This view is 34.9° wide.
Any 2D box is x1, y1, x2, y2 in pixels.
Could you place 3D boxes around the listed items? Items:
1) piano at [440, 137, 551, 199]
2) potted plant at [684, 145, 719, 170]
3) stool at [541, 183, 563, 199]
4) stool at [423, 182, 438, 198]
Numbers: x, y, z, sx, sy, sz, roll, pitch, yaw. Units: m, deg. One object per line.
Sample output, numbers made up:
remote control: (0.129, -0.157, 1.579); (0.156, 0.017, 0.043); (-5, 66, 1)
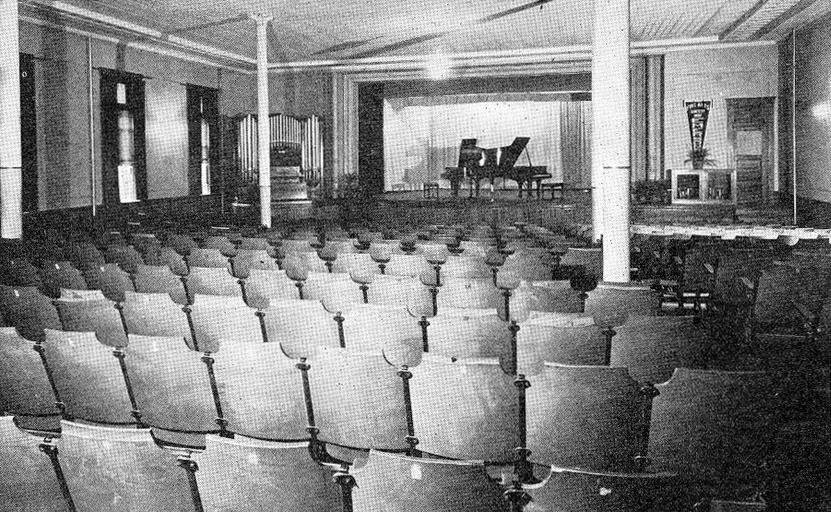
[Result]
piano: (2.041, -2.291, 33.069); (2.547, 1.461, 1.310); (3, 7, 29)
potted plant: (6.892, -2.404, 32.185); (0.671, 0.438, 0.651); (0, 0, -12)
stool: (3.393, -1.713, 33.068); (0.536, 0.378, 0.453); (-2, 5, 2)
stool: (0.352, -1.754, 34.211); (0.438, 0.424, 0.399); (-1, 9, -2)
